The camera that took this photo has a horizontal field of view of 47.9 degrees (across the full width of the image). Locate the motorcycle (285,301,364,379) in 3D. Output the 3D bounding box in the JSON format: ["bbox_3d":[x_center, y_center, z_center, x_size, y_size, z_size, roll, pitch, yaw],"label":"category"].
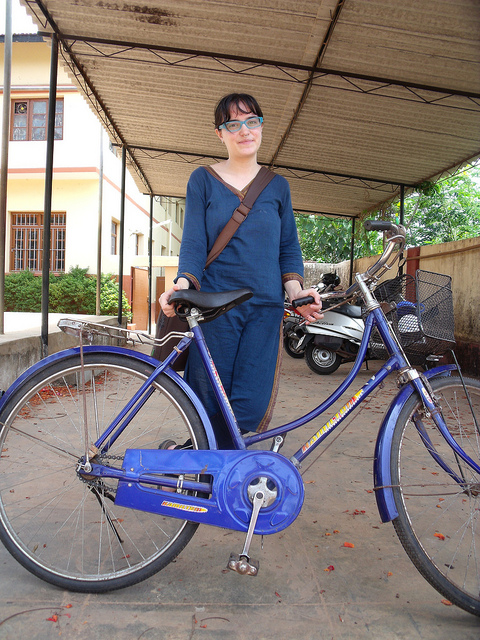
[{"bbox_3d":[1.070,0.285,6.372,1.359,0.895,0.628,-1,0,-7],"label":"motorcycle"}]
